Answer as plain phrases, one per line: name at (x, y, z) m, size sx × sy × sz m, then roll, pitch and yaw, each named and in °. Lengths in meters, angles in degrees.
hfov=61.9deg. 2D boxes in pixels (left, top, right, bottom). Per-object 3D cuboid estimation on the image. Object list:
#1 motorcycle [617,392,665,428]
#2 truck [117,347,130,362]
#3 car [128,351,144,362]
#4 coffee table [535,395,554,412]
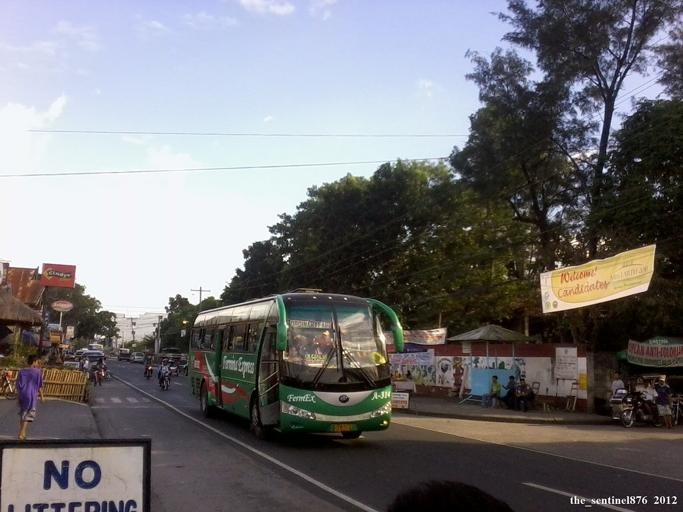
motorcycle at (11.494, 5.889, 21.921) m, size 2.218 × 1.365 × 1.018 m, roll 5°, pitch -16°, yaw -19°
truck at (-38.713, 17.544, 101.532) m, size 2.062 × 2.126 × 3.871 m, roll 3°, pitch -12°, yaw -21°
car at (-31.623, 16.014, 88.631) m, size 1.701 × 1.536 × 2.901 m, roll 3°, pitch 0°, yaw -27°
coffee table at (9.156, 6.689, 25.875) m, size 0.667 × 0.351 × 1.008 m, roll 0°, pitch -9°, yaw 0°
